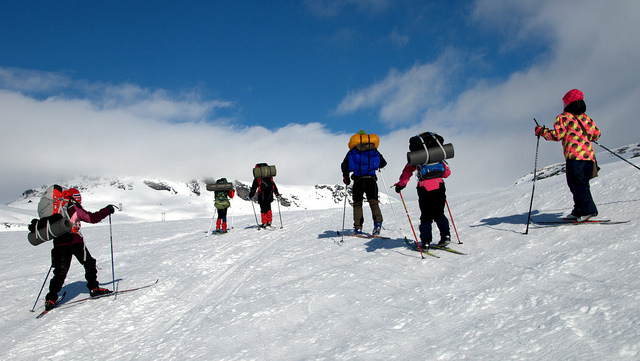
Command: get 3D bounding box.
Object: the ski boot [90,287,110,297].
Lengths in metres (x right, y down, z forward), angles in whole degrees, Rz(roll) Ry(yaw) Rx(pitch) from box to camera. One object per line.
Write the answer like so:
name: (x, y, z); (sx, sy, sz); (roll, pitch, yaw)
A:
ski boot: (-6.885, 3.439, 12.930); (0.682, 0.265, 0.224); (-7, 12, -21)

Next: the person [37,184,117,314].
person: (-7.682, 1.997, 12.760); (1.587, 3.907, 0.811); (-4, 0, -33)

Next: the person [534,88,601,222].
person: (7.964, -0.833, 12.761); (1.519, 4.099, 1.104); (-4, 0, -31)

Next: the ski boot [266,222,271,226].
ski boot: (-2.541, 2.132, 20.283); (0.116, 0.144, 0.153); (19, 5, 3)

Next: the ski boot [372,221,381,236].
ski boot: (2.042, 1.733, 14.887); (0.310, 0.524, 0.287); (-4, 0, 12)

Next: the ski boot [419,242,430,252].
ski boot: (3.244, 2.048, 12.722); (0.221, 0.266, 0.277); (-2, -7, -10)

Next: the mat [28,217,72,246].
mat: (-8.159, 1.506, 12.437); (1.168, 0.837, 0.320); (-4, 0, 0)

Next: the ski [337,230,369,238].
ski: (1.179, 2.057, 15.490); (0.296, 0.049, 1.656); (-4, 0, -39)

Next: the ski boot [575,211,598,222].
ski boot: (7.903, 1.063, 12.215); (0.573, 0.275, 0.147); (-4, 0, 13)
